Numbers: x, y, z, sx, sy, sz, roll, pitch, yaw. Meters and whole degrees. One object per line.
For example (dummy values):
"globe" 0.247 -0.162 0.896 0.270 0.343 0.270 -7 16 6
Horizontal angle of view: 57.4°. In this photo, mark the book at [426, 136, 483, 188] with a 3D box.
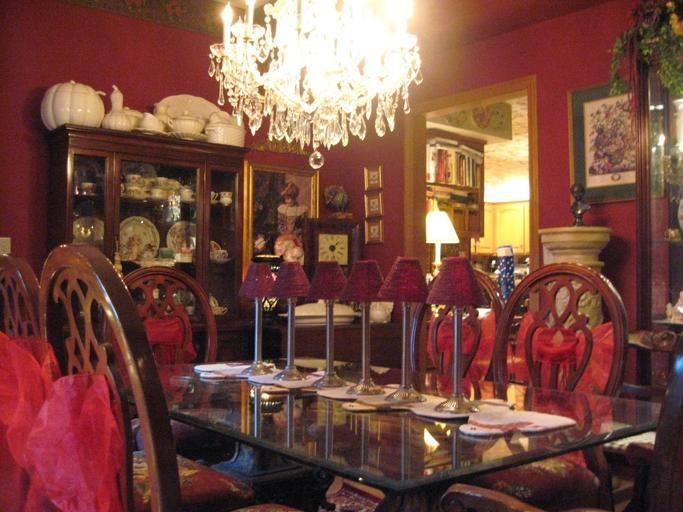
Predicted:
"book" 1.405 -1.133 7.665 0.174 0.585 1.070 1 4 43

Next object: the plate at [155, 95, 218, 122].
"plate" -1.184 -1.156 4.838 0.301 0.318 0.078 -5 -35 -26

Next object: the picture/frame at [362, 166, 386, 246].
"picture/frame" 0.267 -0.437 5.377 0.031 0.660 0.235 -3 3 -41

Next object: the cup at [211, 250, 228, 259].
"cup" -0.921 -0.008 4.705 0.072 0.050 0.073 0 1 0

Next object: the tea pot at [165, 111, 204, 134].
"tea pot" -1.127 -0.943 4.595 0.162 0.162 0.202 0 -3 11

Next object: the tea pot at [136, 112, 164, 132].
"tea pot" -1.349 -0.932 4.397 0.115 0.138 0.160 4 5 36

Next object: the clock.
"clock" -0.089 0.072 5.266 0.412 0.802 0.096 2 -27 -1
